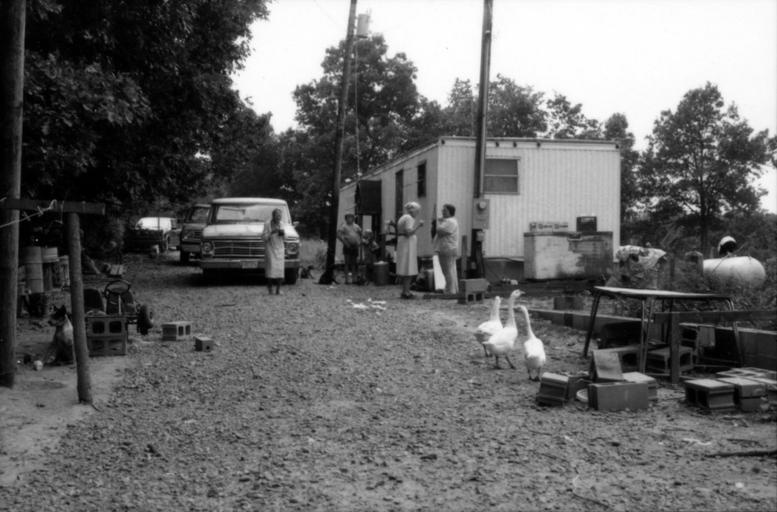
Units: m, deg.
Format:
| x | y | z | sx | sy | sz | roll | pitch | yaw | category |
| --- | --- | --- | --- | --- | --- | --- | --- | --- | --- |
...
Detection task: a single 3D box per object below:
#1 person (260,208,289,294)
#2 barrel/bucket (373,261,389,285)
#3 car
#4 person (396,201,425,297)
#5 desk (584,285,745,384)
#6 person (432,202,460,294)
| x | y | z | sx | sy | sz | roll | pitch | yaw | category |
| --- | --- | --- | --- | --- | --- | --- | --- | --- | --- |
| -2.522 | -0.173 | 16.340 | 0.476 | 1.700 | 0.472 | 1 | -3 | -22 | person |
| -0.169 | 0.470 | 19.813 | 0.471 | 0.595 | 0.510 | -1 | 2 | 0 | barrel/bucket |
| -5.301 | -0.414 | 21.992 | 3.218 | 2.949 | 6.155 | 0 | -1 | -12 | car |
| 0.481 | -0.144 | 16.568 | 0.767 | 1.979 | 0.648 | 0 | 0 | -19 | person |
| 3.750 | 0.924 | 11.409 | 2.661 | 1.791 | 1.412 | 0 | 0 | -2 | desk |
| 1.280 | -0.116 | 16.271 | 0.511 | 2.062 | 0.713 | 1 | 14 | 5 | person |
